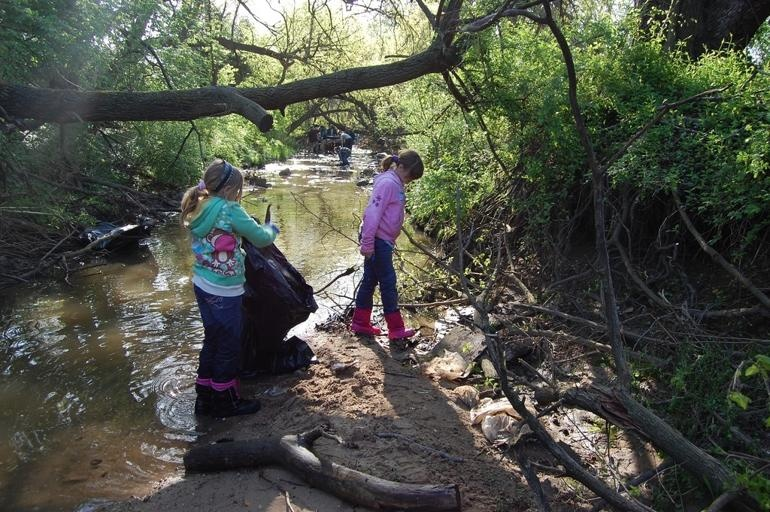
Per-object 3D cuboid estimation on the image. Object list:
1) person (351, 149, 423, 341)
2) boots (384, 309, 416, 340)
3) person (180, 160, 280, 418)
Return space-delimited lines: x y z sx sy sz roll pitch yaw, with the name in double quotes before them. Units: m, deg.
"person" -0.005 -0.119 7.240 0.852 2.560 0.564 2 16 -4
"boots" 0.157 0.981 7.348 0.498 0.487 0.271 -11 1 -5
"person" -1.875 0.417 6.199 0.951 2.967 0.702 -1 16 -11
